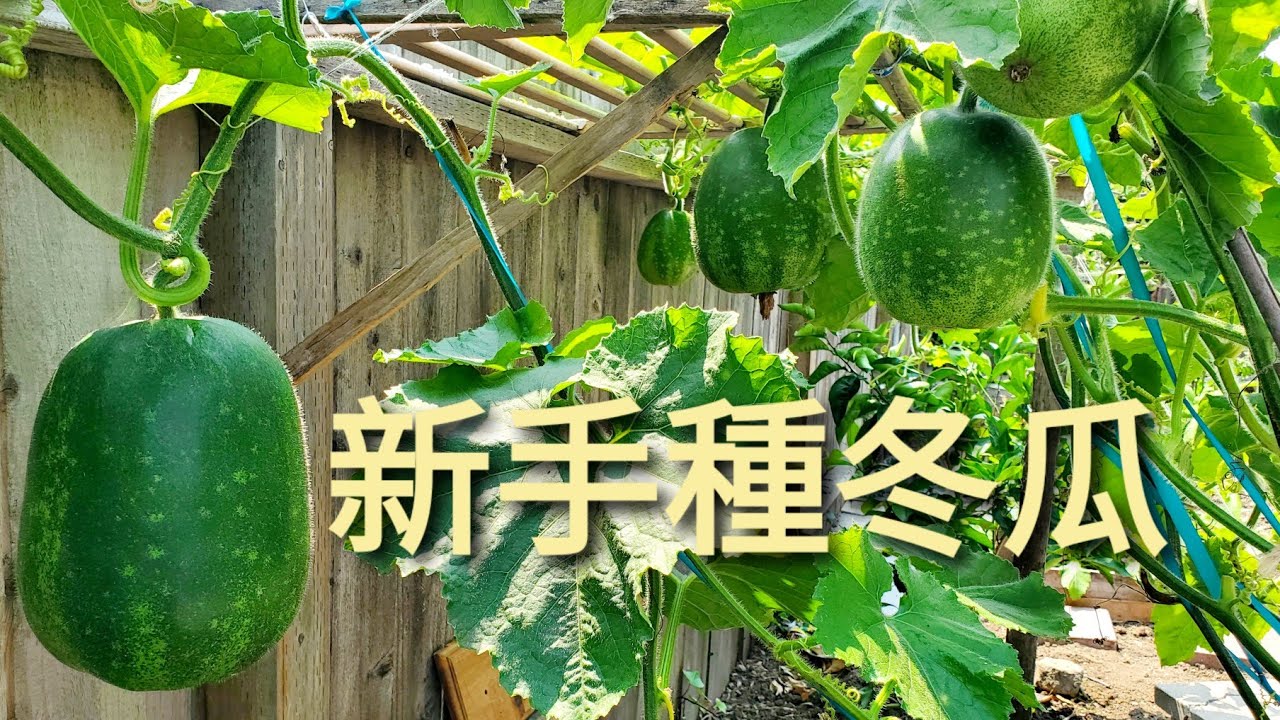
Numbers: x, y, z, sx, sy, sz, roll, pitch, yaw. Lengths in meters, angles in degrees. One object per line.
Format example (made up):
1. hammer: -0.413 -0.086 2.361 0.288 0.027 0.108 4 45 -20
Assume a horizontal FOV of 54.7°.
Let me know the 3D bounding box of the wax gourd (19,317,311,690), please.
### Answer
1. wax gourd: -0.834 0.261 2.208 0.523 0.648 0.521 5 5 38

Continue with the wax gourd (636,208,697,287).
1. wax gourd: 0.078 -0.337 3.745 0.167 0.250 0.157 7 16 8

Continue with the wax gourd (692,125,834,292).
1. wax gourd: 0.252 -0.324 2.744 0.325 0.369 0.310 -4 7 -20
